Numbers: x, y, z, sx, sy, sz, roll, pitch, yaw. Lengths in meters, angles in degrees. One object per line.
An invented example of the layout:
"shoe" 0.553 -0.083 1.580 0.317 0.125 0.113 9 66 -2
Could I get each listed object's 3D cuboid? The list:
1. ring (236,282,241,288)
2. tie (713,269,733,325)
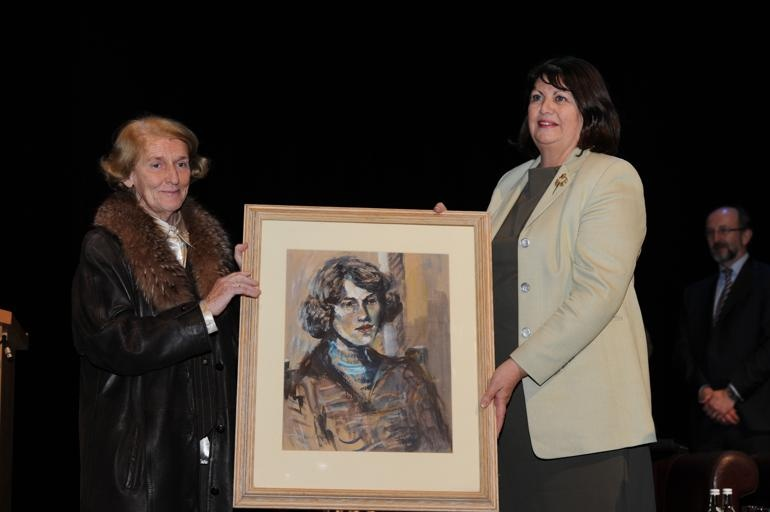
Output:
"ring" -0.690 0.137 4.373 0.024 0.024 0.014 0 -4 -6
"tie" 2.325 0.265 6.428 0.064 0.308 0.223 5 -11 1
